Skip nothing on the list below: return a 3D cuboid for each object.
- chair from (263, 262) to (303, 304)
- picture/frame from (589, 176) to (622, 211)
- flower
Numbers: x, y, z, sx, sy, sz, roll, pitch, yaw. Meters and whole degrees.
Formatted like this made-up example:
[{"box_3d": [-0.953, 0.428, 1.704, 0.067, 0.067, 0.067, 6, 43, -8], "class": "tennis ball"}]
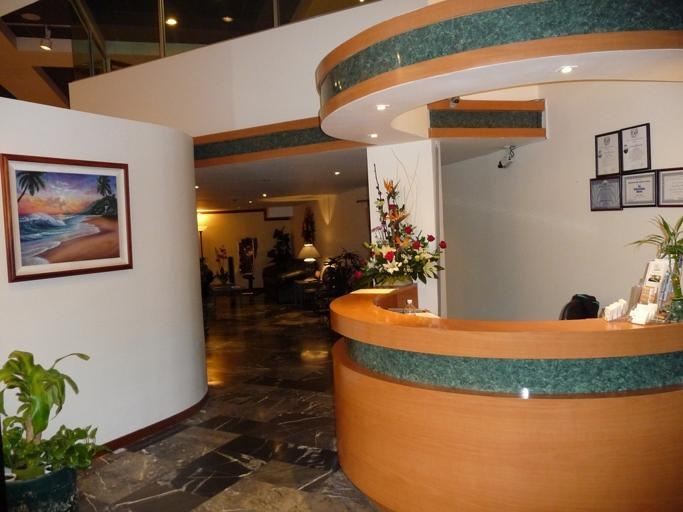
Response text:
[{"box_3d": [-1.535, 0.637, 13.908, 0.885, 1.101, 2.721, 3, 3, -15], "class": "chair"}, {"box_3d": [2.747, -0.647, 5.302, 0.420, 0.336, 0.019, -5, 5, -20], "class": "picture/frame"}, {"box_3d": [0.628, -0.349, 5.542, 0.872, 1.337, 0.942, -3, 6, 2], "class": "flower"}]
